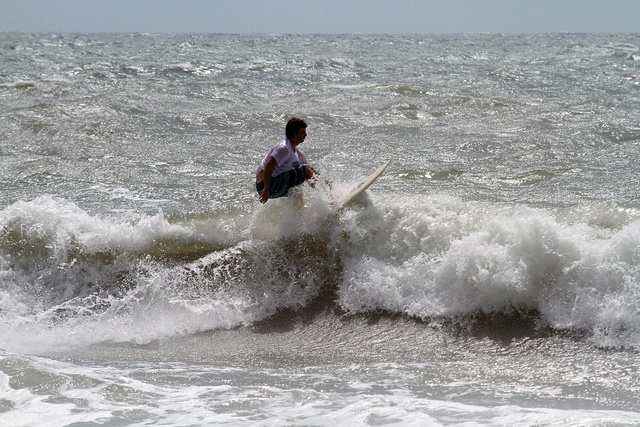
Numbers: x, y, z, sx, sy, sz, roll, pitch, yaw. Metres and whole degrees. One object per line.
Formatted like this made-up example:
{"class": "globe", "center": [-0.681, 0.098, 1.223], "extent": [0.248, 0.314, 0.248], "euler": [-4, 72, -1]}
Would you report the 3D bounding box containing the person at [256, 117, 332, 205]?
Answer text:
{"class": "person", "center": [-0.572, -0.960, 18.059], "extent": [1.032, 1.519, 0.350], "euler": [1, 4, -3]}
